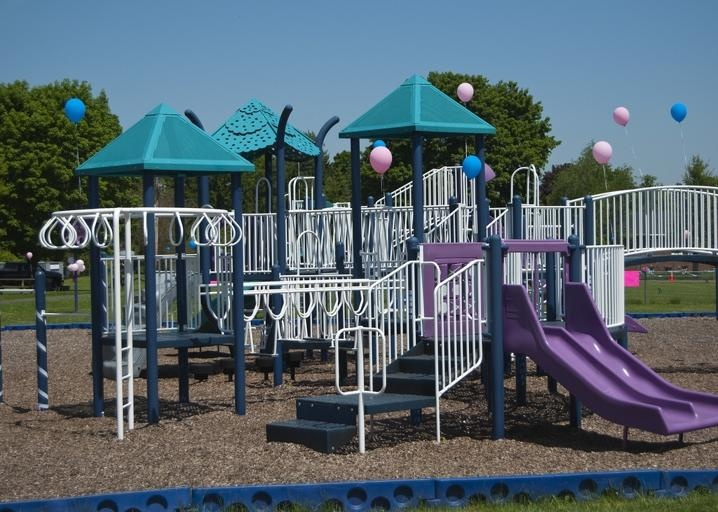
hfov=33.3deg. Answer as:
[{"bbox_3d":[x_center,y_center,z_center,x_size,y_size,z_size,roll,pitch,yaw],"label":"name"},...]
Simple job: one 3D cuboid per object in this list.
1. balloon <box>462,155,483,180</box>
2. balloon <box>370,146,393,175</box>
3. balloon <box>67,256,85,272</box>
[{"bbox_3d":[1.948,-1.547,20.953,0.330,0.507,0.363,1,-3,-4],"label":"balloon"},{"bbox_3d":[0.388,-1.717,21.110,0.422,0.616,0.464,0,-3,-6],"label":"balloon"},{"bbox_3d":[-9.459,0.240,40.076,0.665,0.314,0.644,9,10,41],"label":"balloon"}]
